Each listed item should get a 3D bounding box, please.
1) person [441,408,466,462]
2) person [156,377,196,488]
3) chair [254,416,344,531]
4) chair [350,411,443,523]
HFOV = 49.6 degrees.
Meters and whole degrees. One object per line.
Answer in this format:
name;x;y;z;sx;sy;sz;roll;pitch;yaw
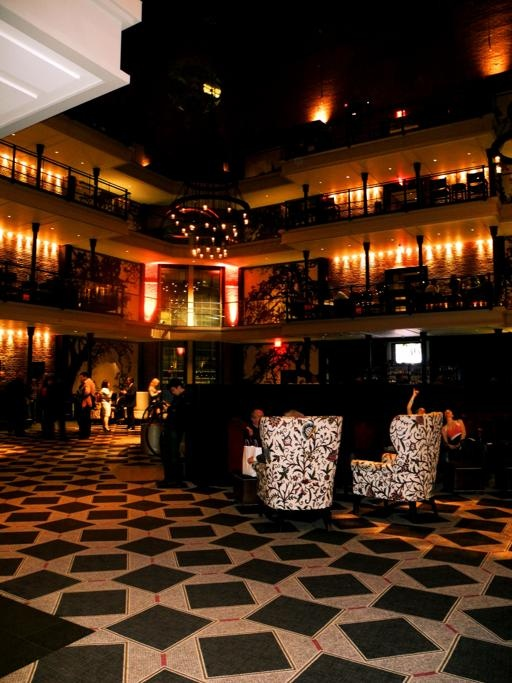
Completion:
person;2.444;1.156;6.843;0.275;0.599;0.785;-1;-5;19
person;-0.940;1.067;6.525;0.316;1.220;0.422;2;-5;-8
chair;0.389;1.079;4.701;0.831;0.792;0.789;5;-8;-24
chair;1.346;1.100;5.121;0.739;0.817;0.696;-7;-9;41
